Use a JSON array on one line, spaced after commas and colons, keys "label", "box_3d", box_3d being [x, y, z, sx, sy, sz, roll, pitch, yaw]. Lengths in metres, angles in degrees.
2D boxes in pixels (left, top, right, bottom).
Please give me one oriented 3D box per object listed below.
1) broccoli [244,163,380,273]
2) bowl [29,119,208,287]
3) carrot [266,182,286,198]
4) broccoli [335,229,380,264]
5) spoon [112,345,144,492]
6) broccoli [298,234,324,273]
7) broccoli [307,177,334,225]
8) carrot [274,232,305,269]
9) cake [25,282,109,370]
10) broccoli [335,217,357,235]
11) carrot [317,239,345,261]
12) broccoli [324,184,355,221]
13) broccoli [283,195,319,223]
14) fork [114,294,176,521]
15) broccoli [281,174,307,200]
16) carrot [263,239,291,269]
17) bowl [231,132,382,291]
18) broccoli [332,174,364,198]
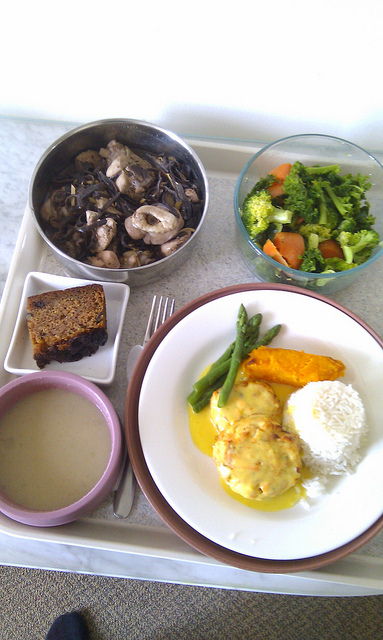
[{"label": "broccoli", "box_3d": [0.324, -0.258, 1.296, 0.316, 0.132, 0.302, 4, 76, 0]}, {"label": "bowl", "box_3d": [-0.183, -0.284, 1.409, 0.434, 0.268, 0.441, 1, 59, -1]}, {"label": "carrot", "box_3d": [0.218, -0.334, 1.387, 0.054, 0.012, 0.049, 0, 85, 23]}, {"label": "broccoli", "box_3d": [0.414, -0.183, 1.343, 0.092, 0.072, 0.086, -8, 60, -6]}, {"label": "spoon", "box_3d": [-0.143, 0.224, 1.308, 0.043, 0.041, 0.364, 9, 71, -4]}, {"label": "broccoli", "box_3d": [0.292, -0.158, 1.325, 0.059, 0.044, 0.097, 9, 67, 16]}, {"label": "broccoli", "box_3d": [0.323, -0.297, 1.394, 0.075, 0.124, 0.041, -19, 39, -28]}, {"label": "carrot", "box_3d": [0.248, -0.169, 1.352, 0.070, 0.023, 0.088, -12, 84, -3]}, {"label": "cake", "box_3d": [-0.303, 0.009, 1.347, 0.199, 0.104, 0.172, -13, 60, -9]}, {"label": "broccoli", "box_3d": [0.395, -0.234, 1.355, 0.044, 0.014, 0.042, 6, 76, 11]}, {"label": "carrot", "box_3d": [0.353, -0.175, 1.358, 0.053, 0.029, 0.052, -4, 56, -15]}, {"label": "broccoli", "box_3d": [0.368, -0.309, 1.396, 0.022, 0.036, 0.155, -22, 46, 1]}, {"label": "broccoli", "box_3d": [0.270, -0.281, 1.353, 0.071, 0.070, 0.035, 2, 20, 17]}, {"label": "fork", "box_3d": [-0.111, 0.136, 1.330, 0.078, 0.038, 0.680, 11, 76, -15]}, {"label": "broccoli", "box_3d": [0.257, -0.332, 1.345, 0.061, 0.063, 0.038, 5, 17, 23]}, {"label": "carrot", "box_3d": [0.205, -0.161, 1.338, 0.070, 0.020, 0.073, 16, 58, -41]}, {"label": "bowl", "box_3d": [0.296, -0.270, 1.490, 0.421, 0.235, 0.415, 1, 79, -5]}, {"label": "broccoli", "box_3d": [0.398, -0.337, 1.380, 0.073, 0.019, 0.046, 7, 96, 9]}]
